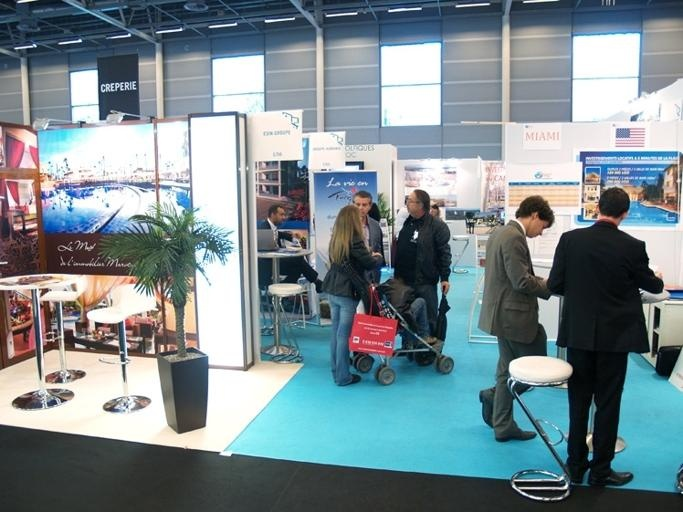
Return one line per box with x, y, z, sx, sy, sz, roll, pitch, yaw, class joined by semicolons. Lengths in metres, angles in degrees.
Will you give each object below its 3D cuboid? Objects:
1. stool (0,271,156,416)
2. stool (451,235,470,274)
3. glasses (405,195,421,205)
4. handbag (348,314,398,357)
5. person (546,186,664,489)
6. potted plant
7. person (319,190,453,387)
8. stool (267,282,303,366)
-2.781;0.820;5.812;1.398;1.626;1.336;0;1;17;stool
2.581;-0.100;12.427;0.396;0.840;0.930;2;15;11;stool
0.783;-0.595;6.034;0.180;0.091;0.171;11;1;-14;glasses
0.296;0.741;5.481;0.420;0.386;0.133;6;3;-7;handbag
1.902;0.587;4.151;0.629;2.104;0.587;-5;15;-13;person
-1.452;0.526;5.030;1.121;2.012;1.216;-5;3;-36;potted plant
0.332;0.353;5.852;1.055;1.859;0.999;-10;17;-30;person
-0.659;0.773;6.634;0.521;0.758;0.484;2;1;30;stool
